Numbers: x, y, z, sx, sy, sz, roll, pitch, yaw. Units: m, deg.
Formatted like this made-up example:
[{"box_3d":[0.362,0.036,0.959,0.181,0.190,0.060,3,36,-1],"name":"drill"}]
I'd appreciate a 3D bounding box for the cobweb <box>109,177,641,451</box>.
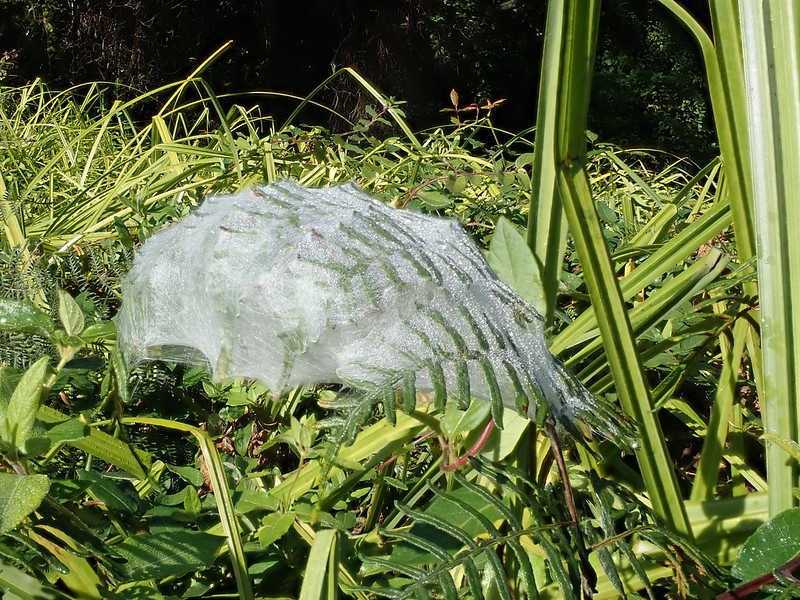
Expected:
[{"box_3d":[-0.043,-0.005,0.871,0.393,0.126,0.278,20,30,3],"name":"cobweb"}]
